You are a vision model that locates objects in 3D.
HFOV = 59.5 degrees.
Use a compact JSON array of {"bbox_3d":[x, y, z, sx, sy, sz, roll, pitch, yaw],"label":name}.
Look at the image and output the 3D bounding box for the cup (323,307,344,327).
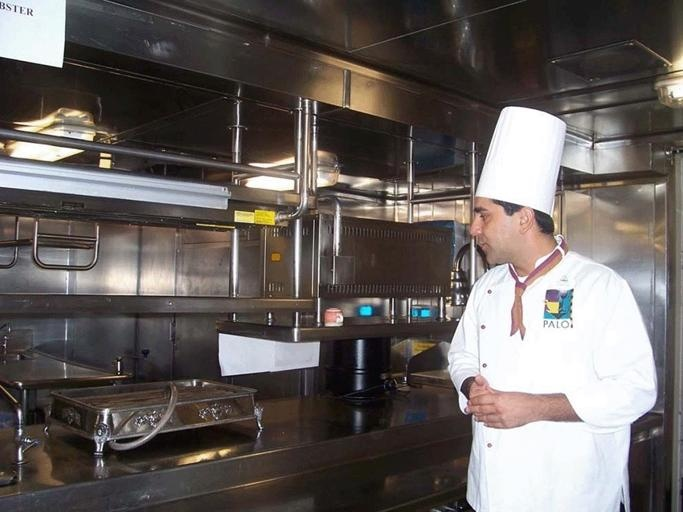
[{"bbox_3d":[-0.042,0.299,2.881,0.079,0.071,0.078,-1,-8,0],"label":"cup"}]
